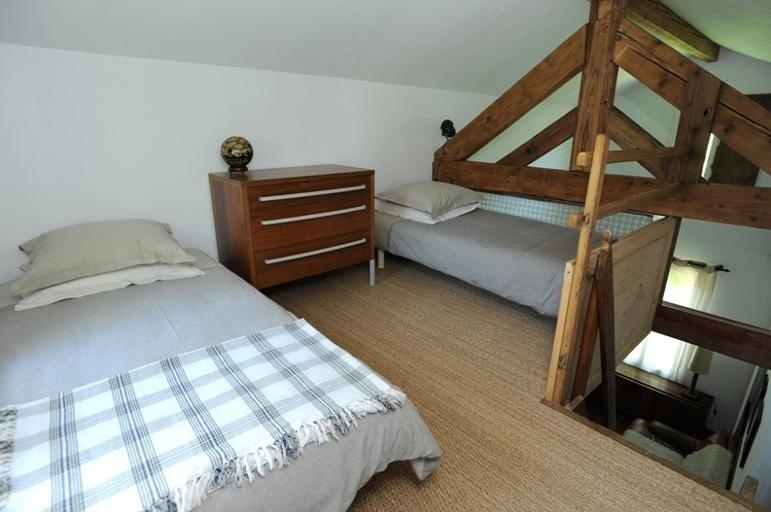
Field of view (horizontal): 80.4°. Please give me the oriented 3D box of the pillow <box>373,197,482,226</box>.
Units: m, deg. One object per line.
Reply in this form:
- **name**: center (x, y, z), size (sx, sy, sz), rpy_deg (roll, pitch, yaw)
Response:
- **pillow**: center (0.241, -0.378, 3.919), size (0.432, 0.102, 0.414), rpy_deg (15, 23, 38)

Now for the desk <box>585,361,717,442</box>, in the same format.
- **desk**: center (2.741, 1.589, 4.880), size (0.958, 0.469, 0.266), rpy_deg (15, 8, -13)

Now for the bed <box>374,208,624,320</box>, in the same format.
- **bed**: center (0.683, -0.064, 3.487), size (1.339, 0.323, 0.822), rpy_deg (18, 31, 36)

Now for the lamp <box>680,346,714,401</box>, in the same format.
- **lamp**: center (3.280, 1.201, 4.769), size (0.189, 0.575, 0.345), rpy_deg (7, 18, 35)

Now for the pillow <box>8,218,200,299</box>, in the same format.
- **pillow**: center (-1.658, -0.022, 2.623), size (0.572, 0.176, 0.623), rpy_deg (39, 38, 25)

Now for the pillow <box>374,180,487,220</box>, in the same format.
- **pillow**: center (0.301, -0.531, 3.977), size (0.540, 0.144, 0.516), rpy_deg (18, 29, 36)
